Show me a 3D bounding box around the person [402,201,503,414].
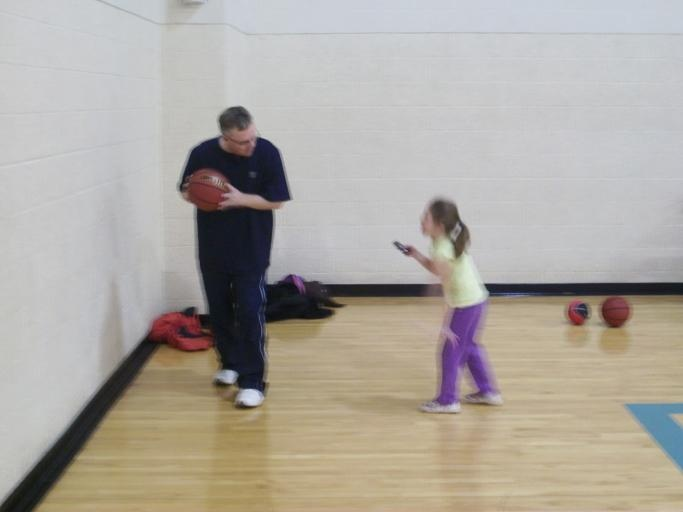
[{"bbox_3d":[0.711,0.304,4.128,0.617,1.324,0.289,-5,14,-19],"label":"person"}]

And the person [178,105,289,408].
[{"bbox_3d":[-0.663,0.002,4.250,0.578,1.856,0.487,13,18,42],"label":"person"}]

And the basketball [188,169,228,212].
[{"bbox_3d":[-0.793,-0.374,4.124,0.237,0.296,0.237,2,-7,8],"label":"basketball"}]

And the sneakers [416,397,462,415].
[{"bbox_3d":[0.633,0.948,4.216,0.250,0.116,0.093,2,-3,6],"label":"sneakers"}]

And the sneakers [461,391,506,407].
[{"bbox_3d":[0.926,0.920,4.268,0.268,0.115,0.102,2,1,11],"label":"sneakers"}]

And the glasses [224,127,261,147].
[{"bbox_3d":[-0.593,-0.709,3.981,0.219,0.114,0.233,-3,15,-12],"label":"glasses"}]
